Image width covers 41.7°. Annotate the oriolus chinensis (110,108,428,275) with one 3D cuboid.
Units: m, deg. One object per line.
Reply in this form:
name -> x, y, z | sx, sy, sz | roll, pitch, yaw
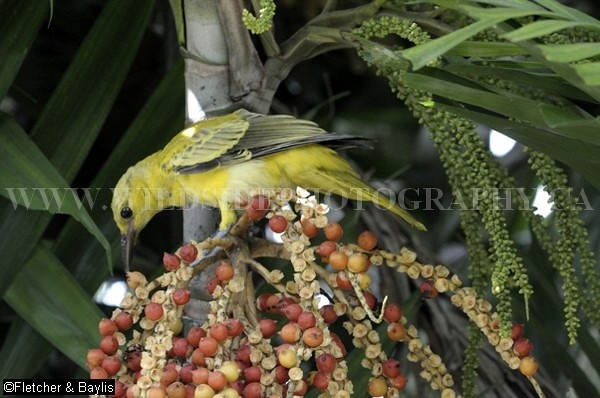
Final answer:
oriolus chinensis -> -0.135, -0.077, 2.566 | 1.027, 0.438, 0.304 | -13, -10, 6
